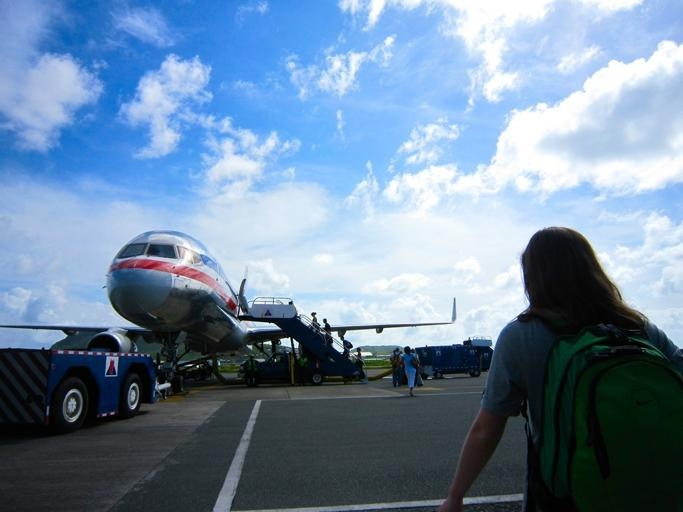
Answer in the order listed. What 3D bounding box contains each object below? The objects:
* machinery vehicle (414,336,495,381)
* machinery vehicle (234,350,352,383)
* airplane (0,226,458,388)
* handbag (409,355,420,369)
[{"bbox_3d":[7.270,6.605,29.881,5.088,2.468,1.790,0,-14,-6],"label":"machinery vehicle"},{"bbox_3d":[-2.317,5.743,23.270,5.542,2.073,2.064,3,-13,0],"label":"machinery vehicle"},{"bbox_3d":[-5.722,2.376,19.606,7.402,5.873,13.423,-6,-12,25],"label":"airplane"},{"bbox_3d":[2.709,3.909,17.107,0.144,0.491,0.897,-4,-11,18],"label":"handbag"}]
